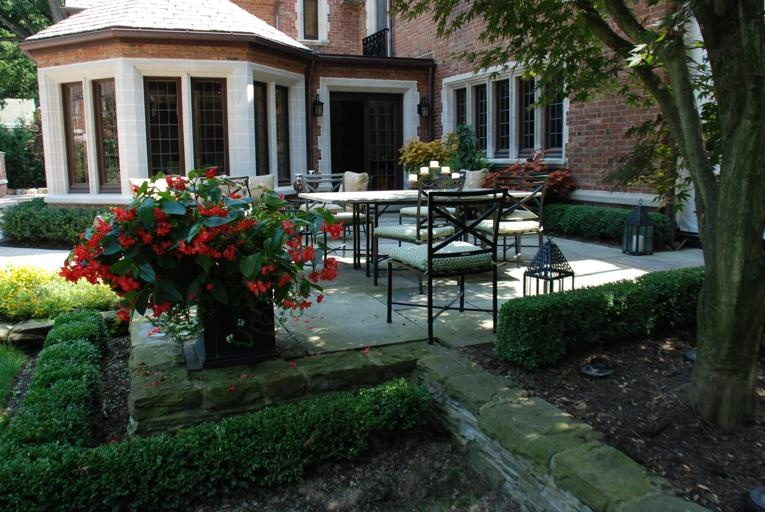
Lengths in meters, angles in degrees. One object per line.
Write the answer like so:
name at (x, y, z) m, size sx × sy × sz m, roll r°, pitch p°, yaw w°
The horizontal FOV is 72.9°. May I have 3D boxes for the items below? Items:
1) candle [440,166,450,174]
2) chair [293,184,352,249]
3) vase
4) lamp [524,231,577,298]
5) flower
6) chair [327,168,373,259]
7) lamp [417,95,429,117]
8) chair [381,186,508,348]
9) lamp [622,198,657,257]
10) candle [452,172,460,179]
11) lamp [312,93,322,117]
candle at (0.824, -1.095, 6.710) m, size 0.141 × 0.103 × 0.140 m, roll 1°, pitch 2°, yaw -11°
chair at (-0.843, -0.671, 7.644) m, size 0.693 × 1.176 × 0.767 m, roll -5°, pitch 16°, yaw -1°
vase at (-1.116, 0.463, 3.882) m, size 0.731 × 0.687 × 0.703 m, roll -4°, pitch -1°, yaw 20°
lamp at (1.327, 0.114, 4.141) m, size 0.383 × 0.500 × 0.548 m, roll 1°, pitch 13°, yaw 3°
flower at (-1.307, -0.056, 3.793) m, size 1.161 × 0.831 × 1.338 m, roll -10°, pitch -15°, yaw -34°
chair at (-0.606, -0.695, 8.022) m, size 0.824 × 1.116 × 0.839 m, roll 5°, pitch 16°, yaw 37°
lamp at (1.024, -3.767, 13.148) m, size 0.262 × 0.480 × 0.223 m, roll 9°, pitch 16°, yaw 33°
chair at (0.547, 0.026, 4.642) m, size 0.844 × 1.287 × 0.931 m, roll -4°, pitch 10°, yaw -14°
lamp at (3.643, -0.347, 7.364) m, size 0.376 × 0.679 × 0.359 m, roll 3°, pitch 14°, yaw 10°
candle at (0.970, -1.055, 6.894) m, size 0.082 × 0.050 × 0.081 m, roll 5°, pitch 11°, yaw 30°
lamp at (-1.536, -3.553, 12.235) m, size 0.253 × 0.533 × 0.287 m, roll 0°, pitch 13°, yaw 1°
